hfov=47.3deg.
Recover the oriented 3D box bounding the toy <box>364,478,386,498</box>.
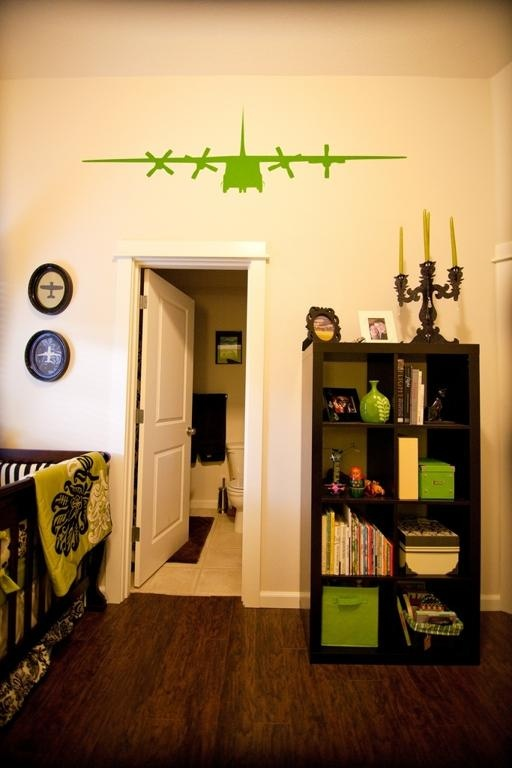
[{"bbox_3d":[0.469,0.416,2.322,0.047,0.027,0.064,24,-16,10],"label":"toy"}]

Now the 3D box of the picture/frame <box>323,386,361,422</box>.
[{"bbox_3d":[0.352,0.089,2.416,0.102,0.114,0.061,2,-29,-12],"label":"picture/frame"}]

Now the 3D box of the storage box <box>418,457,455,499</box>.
[{"bbox_3d":[0.693,0.377,2.238,0.097,0.109,0.202,2,-2,8],"label":"storage box"}]

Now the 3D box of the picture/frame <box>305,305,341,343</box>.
[{"bbox_3d":[0.275,-0.242,2.420,0.159,0.191,0.012,0,-7,-2],"label":"picture/frame"}]

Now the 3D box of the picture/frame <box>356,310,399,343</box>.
[{"bbox_3d":[0.501,-0.240,2.446,0.152,0.178,0.012,0,-24,-1],"label":"picture/frame"}]

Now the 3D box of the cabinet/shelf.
[{"bbox_3d":[0.534,0.413,2.335,0.590,1.255,0.406,1,11,13],"label":"cabinet/shelf"}]

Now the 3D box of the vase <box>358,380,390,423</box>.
[{"bbox_3d":[0.461,0.078,2.279,0.130,0.226,0.137,0,-9,9],"label":"vase"}]

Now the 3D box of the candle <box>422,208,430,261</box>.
[{"bbox_3d":[0.733,-0.640,2.495,0.035,0.216,0.388,3,13,15],"label":"candle"}]

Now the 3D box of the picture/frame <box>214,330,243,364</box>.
[{"bbox_3d":[-0.194,-0.271,4.336,0.206,0.302,0.024,0,-1,-2],"label":"picture/frame"}]

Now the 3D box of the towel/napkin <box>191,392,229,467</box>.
[{"bbox_3d":[-0.334,0.334,4.246,0.326,0.464,0.108,-2,1,-17],"label":"towel/napkin"}]
